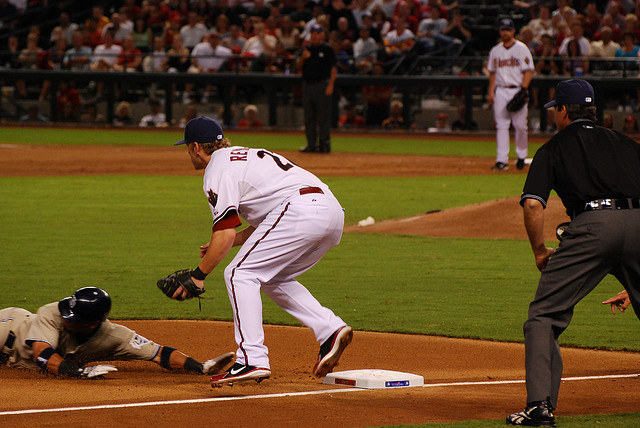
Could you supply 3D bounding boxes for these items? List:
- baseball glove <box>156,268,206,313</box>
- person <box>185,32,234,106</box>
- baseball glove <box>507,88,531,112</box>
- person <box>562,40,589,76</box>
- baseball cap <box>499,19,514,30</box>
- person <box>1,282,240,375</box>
[{"bbox_3d":[-1.376,0.693,12.080,0.529,0.221,0.275,11,16,12],"label":"baseball glove"},{"bbox_3d":[-2.212,-2.846,23.052,0.800,0.845,1.582,7,-20,-39],"label":"person"},{"bbox_3d":[3.086,-1.752,18.589,0.238,0.422,0.101,36,-13,14],"label":"baseball glove"},{"bbox_3d":[4.710,-2.892,22.111,0.470,0.721,0.836,0,2,11],"label":"person"},{"bbox_3d":[2.894,-2.941,18.584,0.164,0.108,0.218,2,14,20],"label":"baseball cap"},{"bbox_3d":[-2.296,1.305,12.411,1.883,0.483,1.126,13,2,11],"label":"person"}]
